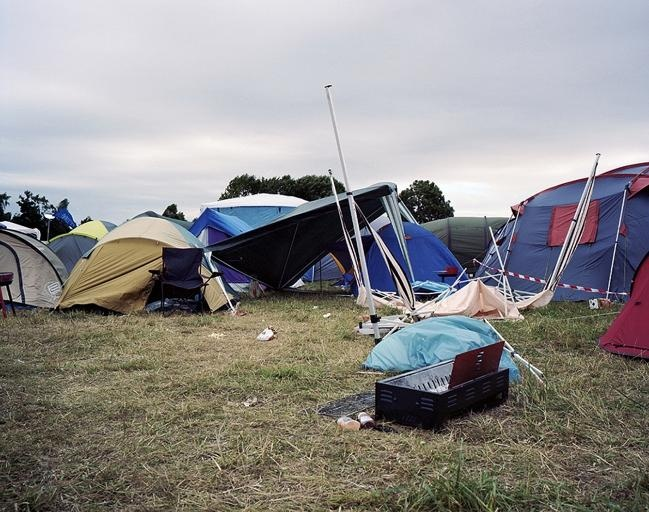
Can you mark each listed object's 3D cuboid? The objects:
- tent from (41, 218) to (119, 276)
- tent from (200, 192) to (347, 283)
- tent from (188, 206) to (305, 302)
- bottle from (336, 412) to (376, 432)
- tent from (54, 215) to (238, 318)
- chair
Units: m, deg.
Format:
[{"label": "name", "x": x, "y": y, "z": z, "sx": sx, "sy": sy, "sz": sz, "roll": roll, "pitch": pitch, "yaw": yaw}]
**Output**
[{"label": "tent", "x": -4.486, "y": -0.140, "z": 10.054, "sx": 1.816, "sy": 0.735, "sz": 1.736, "roll": 0, "pitch": 5, "yaw": -6}, {"label": "tent", "x": -1.817, "y": -0.656, "z": 13.129, "sx": 2.967, "sy": 1.657, "sz": 2.756, "roll": 0, "pitch": -4, "yaw": -17}, {"label": "tent", "x": -1.705, "y": 0.021, "z": 10.831, "sx": 2.224, "sy": 1.302, "sz": 2.118, "roll": 2, "pitch": -4, "yaw": 11}, {"label": "bottle", "x": 0.220, "y": 1.153, "z": 3.804, "sx": 0.266, "sy": 0.067, "sz": 0.176, "roll": -3, "pitch": 10, "yaw": -18}, {"label": "tent", "x": -2.785, "y": 0.187, "z": 8.235, "sx": 2.032, "sy": 0.929, "sz": 1.750, "roll": 0, "pitch": 0, "yaw": 7}, {"label": "chair", "x": -2.007, "y": 0.337, "z": 7.820, "sx": 1.012, "sy": 0.908, "sz": 0.686, "roll": 3, "pitch": 5, "yaw": -24}]
